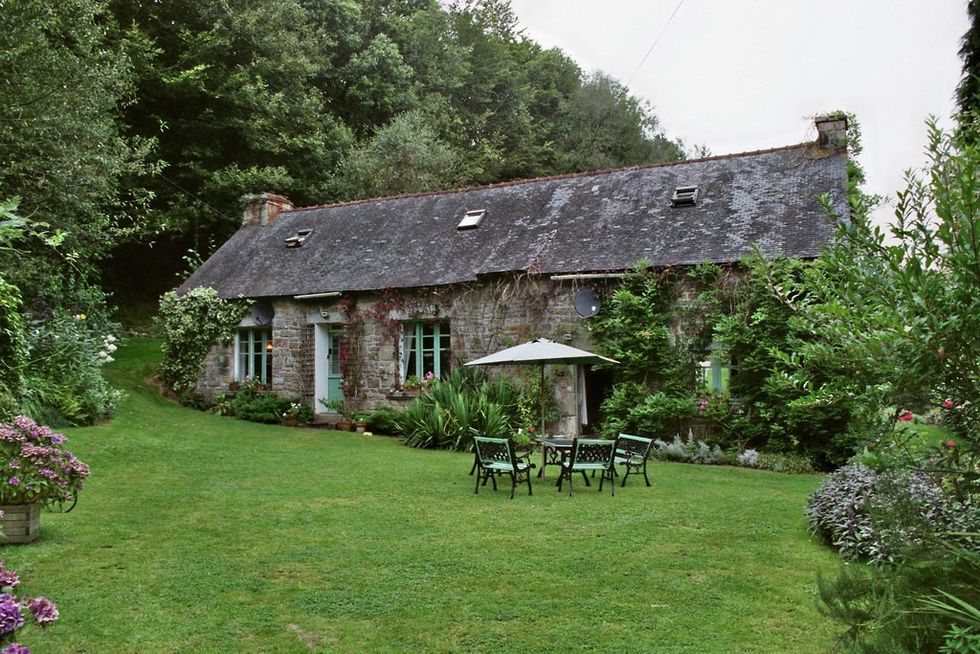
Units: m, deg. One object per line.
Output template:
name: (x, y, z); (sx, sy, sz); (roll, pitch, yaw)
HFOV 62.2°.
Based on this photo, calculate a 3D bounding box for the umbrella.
umbrella: (0.945, 1.535, 15.652); (2.628, 2.168, 2.482); (0, 5, 1)

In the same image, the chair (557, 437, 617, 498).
chair: (1.688, 2.482, 14.461); (0.982, 1.329, 1.015); (2, -3, -3)
